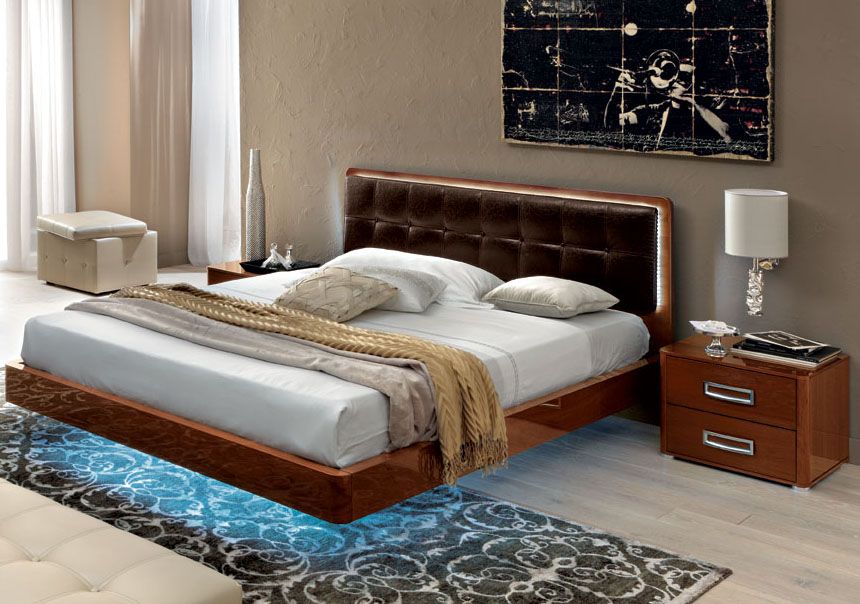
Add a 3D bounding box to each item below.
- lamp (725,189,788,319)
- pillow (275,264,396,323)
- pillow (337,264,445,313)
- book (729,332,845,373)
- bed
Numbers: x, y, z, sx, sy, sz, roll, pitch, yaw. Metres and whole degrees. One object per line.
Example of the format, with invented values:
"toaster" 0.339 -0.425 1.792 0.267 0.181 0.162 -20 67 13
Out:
"lamp" 1.704 -0.237 3.621 0.333 0.699 0.350 8 16 22
"pillow" -0.562 -0.073 3.759 0.456 0.098 0.425 9 22 34
"pillow" -0.151 -0.070 3.919 0.433 0.092 0.392 -4 14 -24
"book" 1.781 0.229 3.460 0.411 0.116 0.331 10 14 39
"bed" 0.025 0.038 3.603 2.624 0.871 2.651 7 11 41
